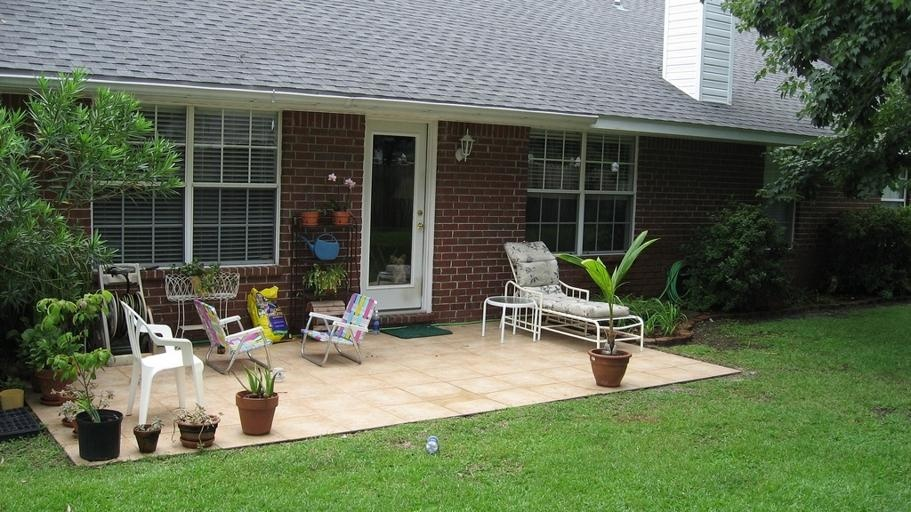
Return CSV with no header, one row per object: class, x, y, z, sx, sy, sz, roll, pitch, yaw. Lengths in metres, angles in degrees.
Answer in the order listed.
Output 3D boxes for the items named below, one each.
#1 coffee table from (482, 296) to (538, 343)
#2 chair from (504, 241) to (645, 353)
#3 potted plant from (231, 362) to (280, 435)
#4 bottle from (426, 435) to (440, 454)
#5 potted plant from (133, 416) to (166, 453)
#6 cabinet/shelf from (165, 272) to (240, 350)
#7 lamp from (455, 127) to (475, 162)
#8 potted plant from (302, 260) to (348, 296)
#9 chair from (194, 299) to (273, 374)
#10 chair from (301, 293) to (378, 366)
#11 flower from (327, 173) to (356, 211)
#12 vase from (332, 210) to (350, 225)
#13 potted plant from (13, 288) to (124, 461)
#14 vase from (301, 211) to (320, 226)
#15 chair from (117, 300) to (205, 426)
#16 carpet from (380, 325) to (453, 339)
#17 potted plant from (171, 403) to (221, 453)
coffee table,1.037,1.169,11.552,0.961,0.627,0.856,-1,3,-29
chair,2.005,0.648,11.430,1.138,1.593,2.767,-5,9,-28
potted plant,-2.369,1.666,7.446,0.595,0.753,0.507,-2,-5,28
bottle,-0.264,2.083,7.069,0.167,0.162,0.172,-15,32,6
potted plant,-3.391,1.996,6.957,0.311,0.215,0.292,1,2,-9
cabinet/shelf,-4.060,0.766,10.174,1.149,1.012,0.613,0,0,-26
lamp,0.168,-2.073,11.772,0.317,0.626,0.282,3,13,6
potted plant,-2.239,0.363,11.011,0.755,0.493,0.663,1,7,-17
chair,-3.196,1.144,9.174,1.003,0.872,1.082,8,5,25
chair,-1.863,1.079,9.899,1.251,1.144,1.054,-4,13,-39
flower,-1.937,-1.130,10.861,0.512,0.609,0.306,-2,13,-15
vase,-1.947,-0.678,10.771,0.252,0.170,0.254,2,2,42
potted plant,-4.505,1.128,7.409,0.911,1.707,2.480,-7,15,-35
vase,-2.446,-0.643,10.631,0.253,0.171,0.250,1,-2,-11
chair,-3.505,1.273,7.696,1.057,1.250,0.995,2,2,7
carpet,-0.703,1.332,11.387,1.126,0.034,0.727,-4,12,-26
potted plant,-2.926,1.937,7.127,0.481,0.336,0.479,6,-9,-42
